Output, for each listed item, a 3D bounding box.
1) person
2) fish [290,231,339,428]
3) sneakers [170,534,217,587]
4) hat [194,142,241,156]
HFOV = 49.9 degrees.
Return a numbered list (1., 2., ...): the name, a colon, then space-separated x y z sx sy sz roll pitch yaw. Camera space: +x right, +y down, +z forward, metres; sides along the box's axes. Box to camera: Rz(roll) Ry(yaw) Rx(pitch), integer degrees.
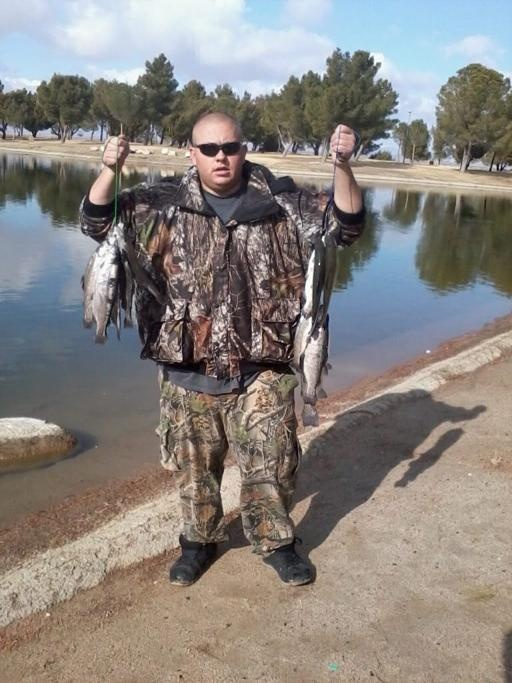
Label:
1. person: -0.203 -0.019 2.867 1.083 2.187 0.502 2 12 14
2. fish: 0.297 -0.023 2.830 0.219 1.064 0.331 0 12 8
3. sneakers: -0.339 1.194 3.043 0.113 0.233 0.311 5 3 22
4. hat: -0.170 -0.887 2.549 0.205 0.068 0.069 -2 13 -2
